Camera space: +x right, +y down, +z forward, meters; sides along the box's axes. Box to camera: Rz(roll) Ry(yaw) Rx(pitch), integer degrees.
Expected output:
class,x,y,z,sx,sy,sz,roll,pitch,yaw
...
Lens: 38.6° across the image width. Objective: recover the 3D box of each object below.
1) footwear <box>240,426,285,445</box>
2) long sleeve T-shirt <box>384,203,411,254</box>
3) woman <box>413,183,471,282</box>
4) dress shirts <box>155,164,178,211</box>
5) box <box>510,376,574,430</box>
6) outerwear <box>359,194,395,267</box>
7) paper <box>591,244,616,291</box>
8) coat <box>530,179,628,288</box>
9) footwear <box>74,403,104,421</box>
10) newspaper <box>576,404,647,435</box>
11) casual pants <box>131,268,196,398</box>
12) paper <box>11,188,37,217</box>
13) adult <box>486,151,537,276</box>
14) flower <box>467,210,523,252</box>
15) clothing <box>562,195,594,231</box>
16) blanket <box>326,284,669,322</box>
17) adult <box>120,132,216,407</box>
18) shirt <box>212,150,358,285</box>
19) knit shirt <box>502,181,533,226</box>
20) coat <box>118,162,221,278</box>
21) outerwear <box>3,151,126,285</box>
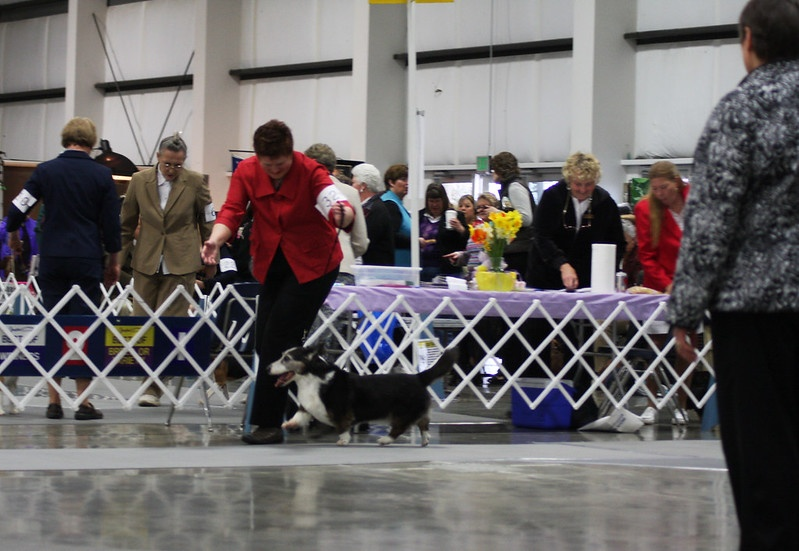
class,x,y,z,sx,sy,sz,roll,pitch,yaw
footwear,-0.894,1.053,7.537,0.211,0.092,0.110,5,-6,-11
long sleeve T-shirt,-0.074,-0.460,11.137,0.299,0.542,0.445,2,-8,5
woman,0.237,-0.234,11.063,0.523,1.273,0.399,3,-18,7
dress shirts,-1.780,-0.653,8.949,0.186,0.264,0.093,4,-8,-35
box,1.003,1.038,8.750,0.579,0.415,0.431,1,-30,8
outerwear,-0.238,-0.349,9.407,0.364,0.679,0.584,1,4,9
paper,1.415,-0.057,8.606,0.171,0.363,0.280,2,5,9
coat,1.236,-0.397,9.258,0.644,0.944,0.858,-4,22,-9
footwear,-2.234,1.008,8.478,0.186,0.085,0.102,-1,2,-35
newspaper,1.448,1.076,8.492,0.453,0.181,0.164,2,5,8
casual pants,-1.824,0.338,8.755,0.379,0.351,1.197,-5,35,0
paper,-2.673,-0.541,8.415,0.155,0.177,0.175,7,20,12
adult,0.893,-0.340,10.337,0.438,1.480,0.492,4,7,-3
flower,0.643,-0.336,8.637,0.345,0.297,0.223,1,5,3
clothing,1.276,-0.466,9.000,0.288,0.280,0.216,7,-6,-7
blanket,0.595,0.247,8.569,2.488,0.292,0.242,1,-11,10
adult,-1.840,-0.118,9.064,0.705,1.888,0.547,5,13,-9
shirt,-0.682,-0.315,7.327,0.847,0.859,0.824,2,16,16
knit shirt,0.901,-0.602,9.713,0.178,0.339,0.347,-6,-20,15
coat,-1.803,-0.422,9.067,0.815,0.824,0.336,1,16,-8
outerwear,-2.402,-0.469,8.476,0.763,0.930,0.274,0,5,-14
